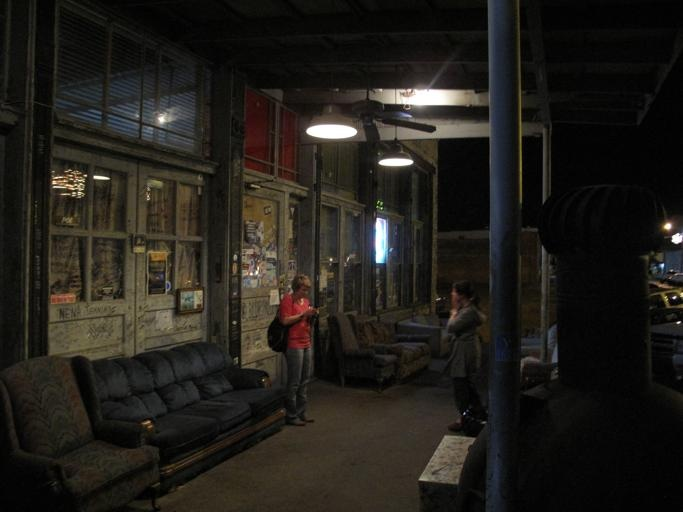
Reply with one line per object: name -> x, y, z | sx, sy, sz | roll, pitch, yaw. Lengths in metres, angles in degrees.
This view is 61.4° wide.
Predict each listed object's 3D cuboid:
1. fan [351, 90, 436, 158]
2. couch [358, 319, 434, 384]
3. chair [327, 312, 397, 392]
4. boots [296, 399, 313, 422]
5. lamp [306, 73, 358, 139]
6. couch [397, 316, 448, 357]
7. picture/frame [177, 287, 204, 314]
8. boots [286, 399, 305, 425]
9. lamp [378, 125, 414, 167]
fan -> 0.447, -1.820, 7.716 | 0.988, 0.821, 1.103 | 7, 10, 43
couch -> 0.944, 1.694, 10.463 | 0.961, 1.126, 1.763 | -7, -4, 28
chair -> 0.362, 1.557, 9.551 | 1.075, 1.191, 0.909 | -1, -6, 16
boots -> -0.472, 2.012, 7.415 | 0.291, 0.302, 0.148 | -4, -5, 37
lamp -> -0.152, -1.811, 7.060 | 0.567, 0.683, 0.648 | 1, 1, 11
couch -> 2.082, 1.730, 12.715 | 0.708, 0.926, 1.364 | -5, -1, 30
picture/frame -> -1.872, 0.553, 7.080 | 0.034, 0.249, 0.338 | -1, -1, 24
boots -> -0.588, 1.984, 7.225 | 0.283, 0.389, 0.217 | -5, -8, 21
lamp -> 0.829, -1.626, 8.810 | 0.554, 0.659, 0.630 | 1, 2, 0
